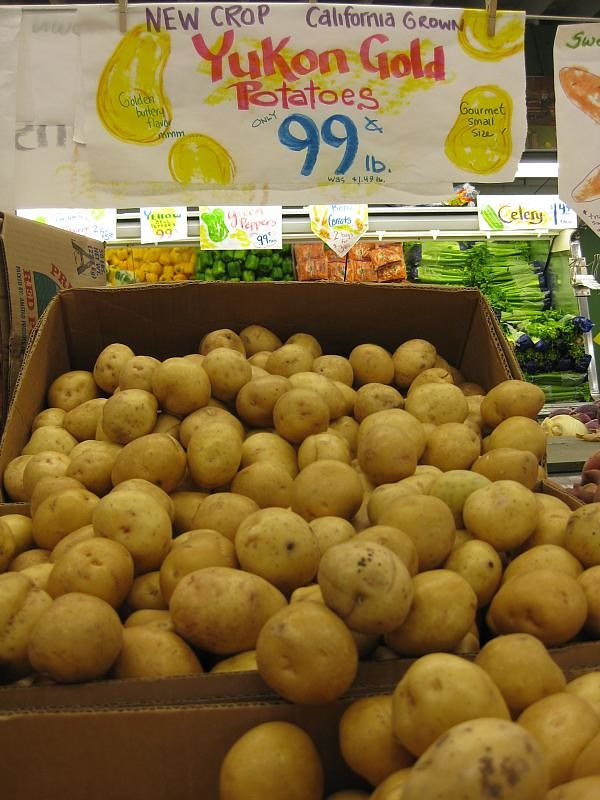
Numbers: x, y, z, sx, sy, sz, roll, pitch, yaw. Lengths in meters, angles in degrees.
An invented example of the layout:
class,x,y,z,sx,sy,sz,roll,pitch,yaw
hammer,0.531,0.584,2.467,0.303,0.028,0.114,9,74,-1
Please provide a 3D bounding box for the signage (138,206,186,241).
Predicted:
class,x,y,z,sx,sy,sz,roll,pitch,yaw
signage,-1.282,-1.639,6.162,0.438,0.348,0.325,-2,29,-9

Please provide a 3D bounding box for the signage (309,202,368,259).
class,x,y,z,sx,sy,sz,roll,pitch,yaw
signage,0.321,-1.569,5.920,0.533,0.426,0.396,7,29,7

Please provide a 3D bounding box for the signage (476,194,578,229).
class,x,y,z,sx,sy,sz,roll,pitch,yaw
signage,2.287,-1.882,6.606,1.119,0.362,0.266,-9,31,-21

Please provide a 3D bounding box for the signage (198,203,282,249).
class,x,y,z,sx,sy,sz,roll,pitch,yaw
signage,-0.518,-1.526,5.764,0.942,0.522,0.490,1,13,0
